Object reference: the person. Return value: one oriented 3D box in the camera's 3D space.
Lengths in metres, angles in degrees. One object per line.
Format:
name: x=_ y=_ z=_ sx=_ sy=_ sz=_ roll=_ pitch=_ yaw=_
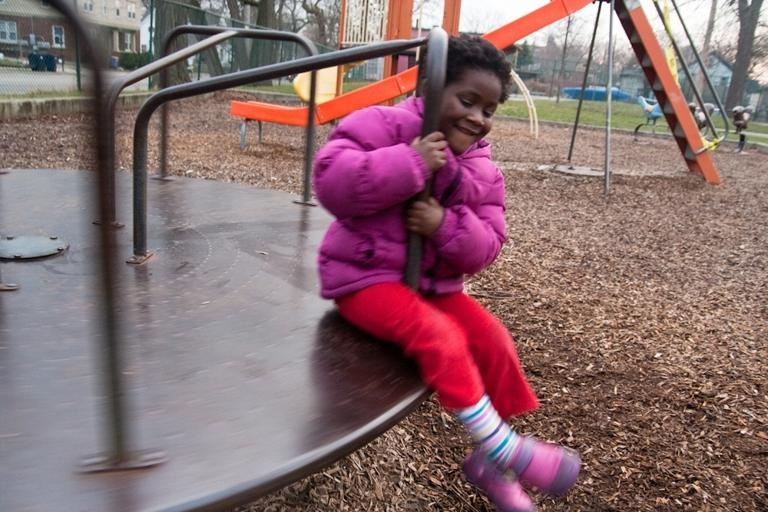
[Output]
person: x=0.214 y=0.135 z=1.818 sx=0.864 sy=1.555 sz=0.504 roll=15 pitch=23 yaw=35
